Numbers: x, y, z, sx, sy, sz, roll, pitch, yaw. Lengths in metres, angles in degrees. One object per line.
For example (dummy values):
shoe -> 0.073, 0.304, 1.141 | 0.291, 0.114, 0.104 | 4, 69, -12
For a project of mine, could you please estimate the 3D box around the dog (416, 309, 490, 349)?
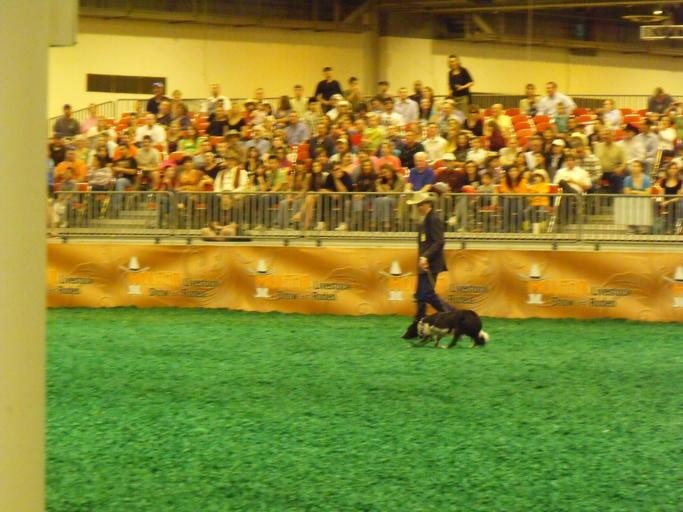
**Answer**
dog -> 1.486, 0.990, 10.142 | 1.080, 0.412, 0.358 | 2, -14, 28

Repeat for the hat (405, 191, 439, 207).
hat -> 1.023, -0.774, 10.230 | 0.388, 0.113, 0.388 | -14, -4, 43
